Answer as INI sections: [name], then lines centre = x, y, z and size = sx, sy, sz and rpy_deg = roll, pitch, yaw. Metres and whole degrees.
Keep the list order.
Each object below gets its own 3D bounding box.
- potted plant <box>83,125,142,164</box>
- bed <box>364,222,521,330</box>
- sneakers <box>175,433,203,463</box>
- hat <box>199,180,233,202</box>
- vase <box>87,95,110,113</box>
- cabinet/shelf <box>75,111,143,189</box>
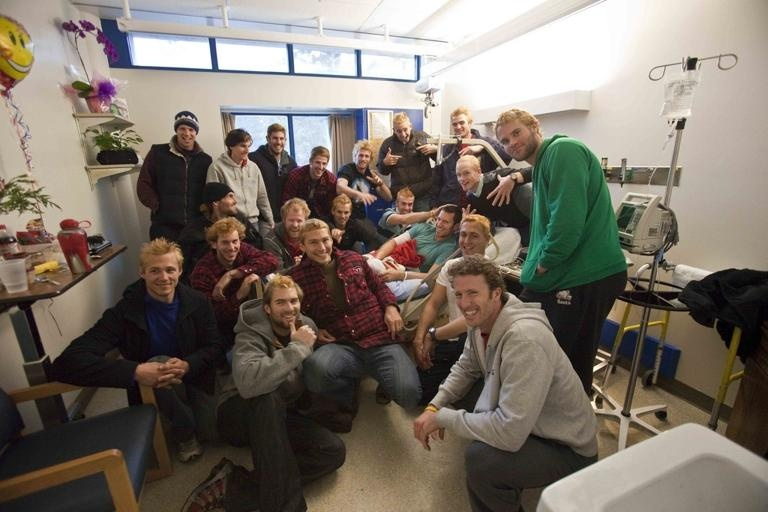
[potted plant]
centre = -2.818, -1.145, 5.255
size = 0.613, 0.414, 0.595
rpy_deg = -2, 12, -16
[bed]
centre = 0.570, 0.079, 4.473
size = 1.209, 0.360, 0.895
rpy_deg = -22, 27, -2
[sneakers]
centre = -1.441, 1.429, 3.694
size = 0.159, 0.086, 0.199
rpy_deg = 8, 44, -23
[hat]
centre = -1.551, -0.597, 4.556
size = 0.164, 0.122, 0.212
rpy_deg = 22, 24, 40
[vase]
centre = -2.828, -1.499, 4.955
size = 0.150, 0.161, 0.155
rpy_deg = 15, -1, -20
[cabinet/shelf]
centre = -2.873, -1.094, 5.177
size = 0.372, 0.667, 1.035
rpy_deg = -8, 13, -15
